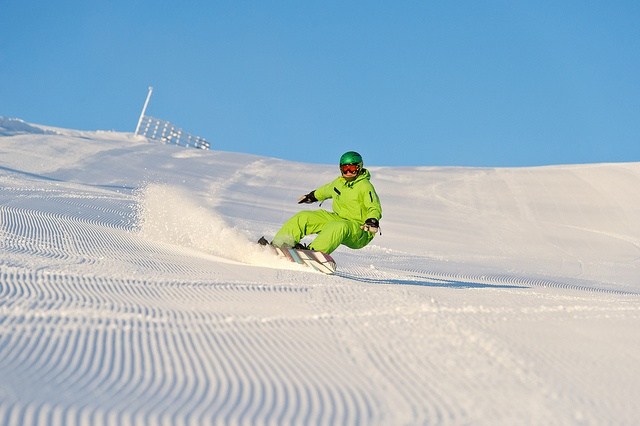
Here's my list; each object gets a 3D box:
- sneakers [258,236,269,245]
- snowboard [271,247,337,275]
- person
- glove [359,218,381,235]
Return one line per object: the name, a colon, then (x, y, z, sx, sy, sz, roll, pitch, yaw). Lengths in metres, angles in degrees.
sneakers: (-0.705, 0.361, 12.496, 0.091, 0.123, 0.041, -5, -9, -3)
snowboard: (-0.158, 0.559, 12.192, 0.810, 0.314, 0.169, 13, -1, 26)
person: (-0.029, -0.053, 15.279, 1.124, 1.227, 1.463, 5, 27, -37)
glove: (0.676, 0.191, 12.271, 0.169, 0.214, 0.099, 16, 13, 22)
